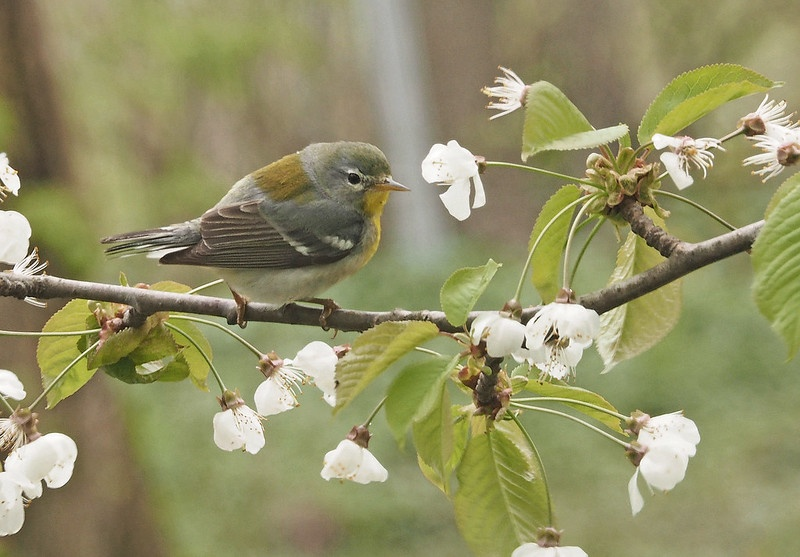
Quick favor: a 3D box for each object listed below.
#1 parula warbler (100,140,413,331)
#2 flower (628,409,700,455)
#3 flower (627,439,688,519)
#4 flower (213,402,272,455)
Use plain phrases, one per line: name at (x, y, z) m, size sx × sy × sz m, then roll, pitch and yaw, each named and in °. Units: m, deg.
parula warbler at (-0.679, -0.336, 5.785) m, size 2.105 × 1.335 × 0.935 m, roll 14°, pitch -10°, yaw -13°
flower at (1.217, 0.675, 4.323) m, size 0.271 × 0.219 × 0.265 m, roll -5°, pitch 0°, yaw 7°
flower at (1.171, 0.894, 4.242) m, size 0.252 × 0.306 × 0.237 m, roll 17°, pitch -34°, yaw -39°
flower at (-0.800, 0.753, 4.670) m, size 0.210 × 0.262 × 0.223 m, roll 0°, pitch 0°, yaw 0°
